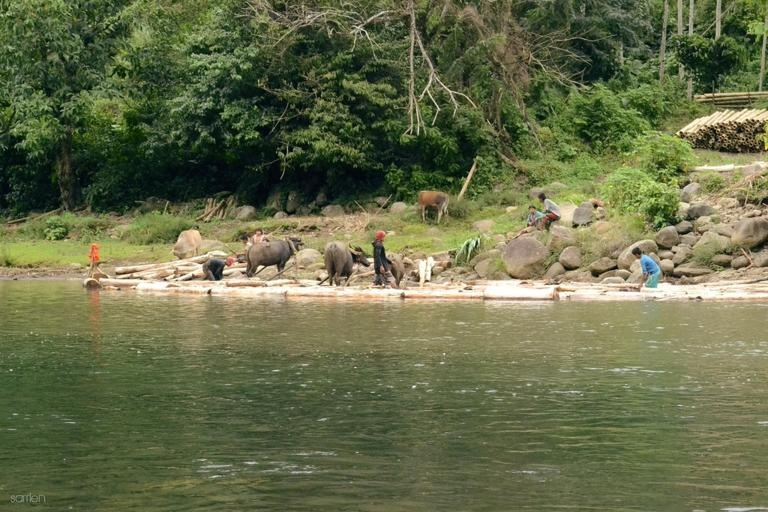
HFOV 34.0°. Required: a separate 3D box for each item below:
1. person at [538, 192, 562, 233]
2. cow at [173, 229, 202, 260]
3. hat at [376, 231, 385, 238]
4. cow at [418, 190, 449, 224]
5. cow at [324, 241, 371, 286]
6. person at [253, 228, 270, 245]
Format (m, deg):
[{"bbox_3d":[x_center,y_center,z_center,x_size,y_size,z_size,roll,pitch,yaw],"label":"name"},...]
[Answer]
[{"bbox_3d":[8.327,-2.272,63.153,0.986,1.824,1.508,-2,3,-9],"label":"person"},{"bbox_3d":[-10.317,-0.663,65.629,1.301,1.446,1.548,-2,3,-6],"label":"cow"},{"bbox_3d":[-0.240,-1.028,58.708,0.336,0.376,0.425,11,23,19],"label":"hat"},{"bbox_3d":[2.826,-2.832,71.059,1.030,1.756,1.779,-4,4,-38],"label":"cow"},{"bbox_3d":[-1.922,0.269,60.277,1.347,2.050,2.127,1,4,35],"label":"cow"},{"bbox_3d":[-6.439,-1.045,65.357,1.053,1.167,0.546,0,-11,-3],"label":"person"}]
